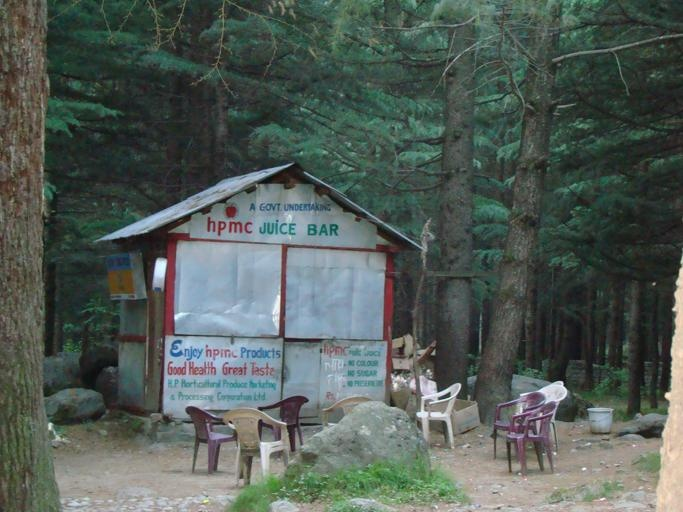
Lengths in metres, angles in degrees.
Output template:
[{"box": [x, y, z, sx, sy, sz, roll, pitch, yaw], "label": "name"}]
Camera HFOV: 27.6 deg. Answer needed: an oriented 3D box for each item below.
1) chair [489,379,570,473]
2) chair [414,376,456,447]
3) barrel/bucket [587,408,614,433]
[{"box": [4.158, 3.628, 30.917, 1.679, 2.229, 1.713, 2, -5, -10], "label": "chair"}, {"box": [2.166, 3.589, 32.226, 1.224, 1.630, 1.352, 1, -2, -8], "label": "chair"}, {"box": [6.040, 3.885, 32.801, 0.559, 0.441, 0.550, -1, -9, 0], "label": "barrel/bucket"}]
